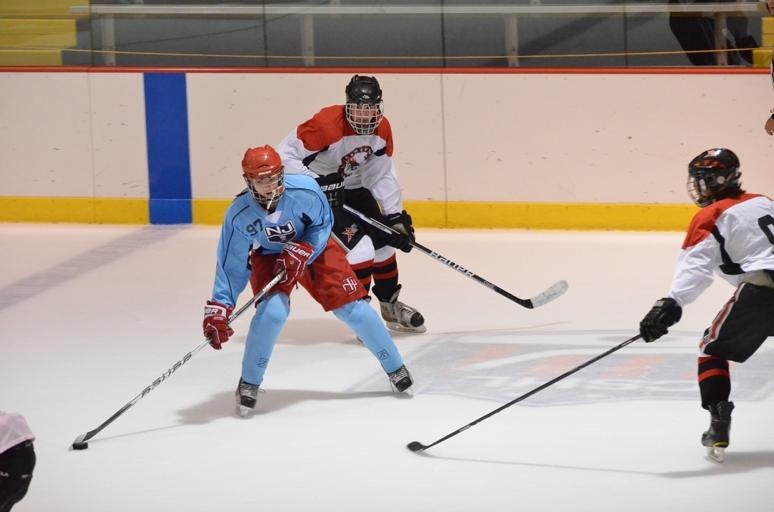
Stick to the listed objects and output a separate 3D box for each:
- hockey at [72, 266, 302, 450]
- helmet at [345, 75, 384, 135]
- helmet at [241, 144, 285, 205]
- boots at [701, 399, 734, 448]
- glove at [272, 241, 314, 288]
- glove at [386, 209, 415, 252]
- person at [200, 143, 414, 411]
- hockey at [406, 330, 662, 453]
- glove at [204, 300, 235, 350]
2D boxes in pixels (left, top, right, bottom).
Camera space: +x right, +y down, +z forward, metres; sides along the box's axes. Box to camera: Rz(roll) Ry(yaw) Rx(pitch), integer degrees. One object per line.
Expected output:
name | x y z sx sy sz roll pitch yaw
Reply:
hockey | -1.079 0.581 4.520 1.398 0.175 0.110 -32 52 -12
helmet | -0.133 -0.860 4.763 0.277 0.309 0.326 -2 31 -4
helmet | -0.611 -0.390 4.119 0.197 0.321 0.215 -1 5 -8
boots | 1.498 0.759 3.751 0.135 0.198 0.230 1 -10 13
glove | -0.457 0.043 4.250 0.166 0.242 0.085 31 -1 19
glove | 0.092 -0.158 4.921 0.091 0.224 0.248 -34 -2 14
person | -0.508 0.092 4.290 1.143 1.258 0.817 -17 17 -20
hockey | 0.769 0.715 4.279 1.405 0.162 0.068 -21 15 -1
glove | -0.843 0.335 4.170 0.202 0.217 0.115 -7 -7 40
